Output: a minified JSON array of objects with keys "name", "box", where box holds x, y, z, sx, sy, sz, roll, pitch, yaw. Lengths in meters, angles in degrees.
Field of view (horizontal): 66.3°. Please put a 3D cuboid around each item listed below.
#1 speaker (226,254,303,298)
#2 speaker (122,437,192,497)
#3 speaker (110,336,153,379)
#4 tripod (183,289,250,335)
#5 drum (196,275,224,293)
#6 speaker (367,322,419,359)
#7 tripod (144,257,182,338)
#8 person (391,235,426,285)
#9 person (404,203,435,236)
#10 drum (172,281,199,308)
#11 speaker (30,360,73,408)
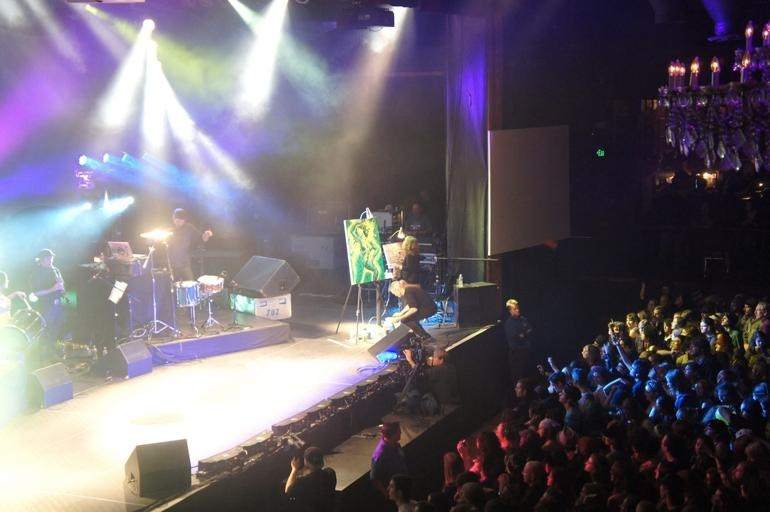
[{"name":"speaker","box":[-2.503,0.480,12.923,0.998,0.678,1.123,-3,2,-43]},{"name":"speaker","box":[-2.906,2.726,7.588,0.710,0.703,0.672,-9,47,-13]},{"name":"speaker","box":[-4.587,1.879,10.738,0.614,0.625,0.637,28,41,35]},{"name":"tripod","box":[-3.562,1.214,12.482,0.722,0.632,0.692,6,16,21]},{"name":"drum","box":[-3.489,0.555,11.854,0.393,0.146,0.384,5,9,-1]},{"name":"speaker","box":[0.136,1.632,11.003,0.801,0.270,0.533,-35,5,2]},{"name":"tripod","box":[-4.479,0.796,11.755,0.657,1.319,0.618,-4,2,-21]},{"name":"person","box":[0.463,0.076,12.570,0.584,0.999,1.781,-3,1,2]},{"name":"person","box":[0.805,-0.926,15.192,0.714,0.820,1.341,-3,1,1]},{"name":"drum","box":[-3.950,0.768,11.828,0.469,0.452,0.473,1,9,2]},{"name":"speaker","box":[-5.483,2.110,9.798,0.594,0.613,0.622,0,5,31]}]
